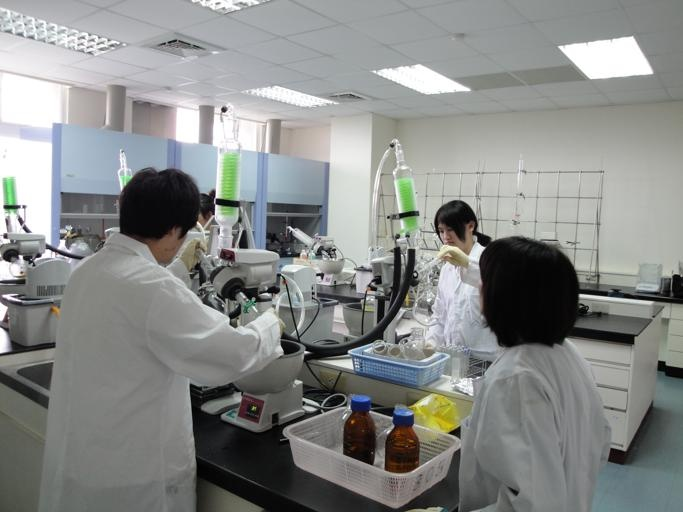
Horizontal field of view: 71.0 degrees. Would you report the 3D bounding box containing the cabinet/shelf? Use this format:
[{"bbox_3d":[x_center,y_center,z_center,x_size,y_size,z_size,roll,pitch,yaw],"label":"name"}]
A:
[{"bbox_3d":[2.136,0.904,3.849,0.553,0.913,0.963,8,15,41],"label":"cabinet/shelf"}]

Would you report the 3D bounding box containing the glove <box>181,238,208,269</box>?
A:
[{"bbox_3d":[-0.553,-0.009,1.795,0.075,0.125,0.058,-5,50,-40],"label":"glove"}]

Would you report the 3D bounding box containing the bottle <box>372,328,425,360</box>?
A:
[{"bbox_3d":[0.239,0.380,1.954,0.147,0.094,0.154,4,-15,1],"label":"bottle"}]

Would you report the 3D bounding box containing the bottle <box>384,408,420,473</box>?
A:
[{"bbox_3d":[0.177,0.533,1.406,0.096,0.190,0.160,2,6,6],"label":"bottle"}]

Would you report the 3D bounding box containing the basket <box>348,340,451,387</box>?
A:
[{"bbox_3d":[0.208,0.394,1.914,0.268,0.086,0.188,0,1,34],"label":"basket"}]

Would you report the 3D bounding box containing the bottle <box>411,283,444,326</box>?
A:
[{"bbox_3d":[0.563,0.309,3.138,0.230,0.330,0.215,1,1,0],"label":"bottle"}]

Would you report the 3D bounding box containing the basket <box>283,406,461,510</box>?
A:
[{"bbox_3d":[0.058,0.629,1.473,0.365,0.115,0.284,3,4,40],"label":"basket"}]

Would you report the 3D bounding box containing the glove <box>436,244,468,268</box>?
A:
[{"bbox_3d":[0.541,0.002,2.340,0.135,0.047,0.104,27,-29,3],"label":"glove"}]
